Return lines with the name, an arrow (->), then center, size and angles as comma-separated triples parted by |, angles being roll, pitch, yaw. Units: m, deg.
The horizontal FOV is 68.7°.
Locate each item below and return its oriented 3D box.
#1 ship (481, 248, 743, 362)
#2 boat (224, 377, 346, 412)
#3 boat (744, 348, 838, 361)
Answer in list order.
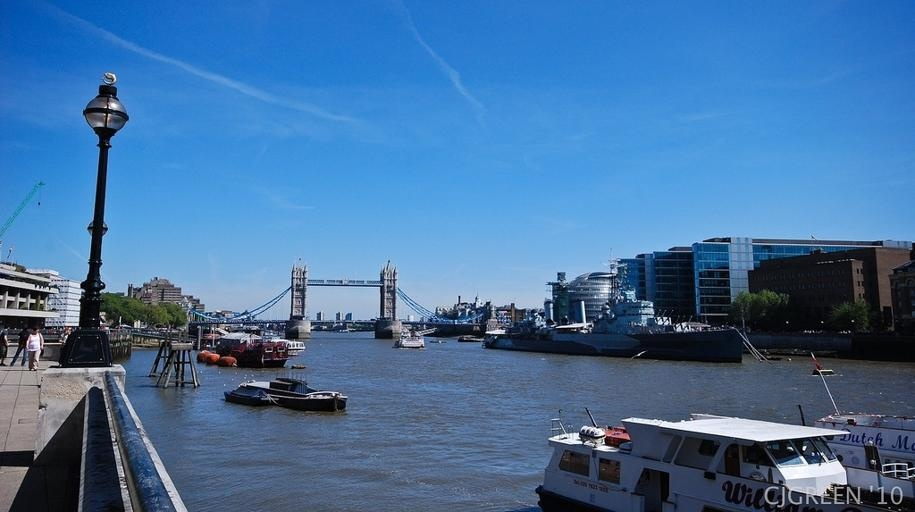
ship -> 27.053, 13.346, 128.522 | 17.275, 16.427, 67.816 | 4, -10, -34
boat -> -16.098, 13.049, 62.708 | 12.377, 2.482, 3.858 | -6, -10, 36
boat -> 56.633, 16.207, 111.191 | 10.591, 1.887, 18.586 | -3, -9, 20
